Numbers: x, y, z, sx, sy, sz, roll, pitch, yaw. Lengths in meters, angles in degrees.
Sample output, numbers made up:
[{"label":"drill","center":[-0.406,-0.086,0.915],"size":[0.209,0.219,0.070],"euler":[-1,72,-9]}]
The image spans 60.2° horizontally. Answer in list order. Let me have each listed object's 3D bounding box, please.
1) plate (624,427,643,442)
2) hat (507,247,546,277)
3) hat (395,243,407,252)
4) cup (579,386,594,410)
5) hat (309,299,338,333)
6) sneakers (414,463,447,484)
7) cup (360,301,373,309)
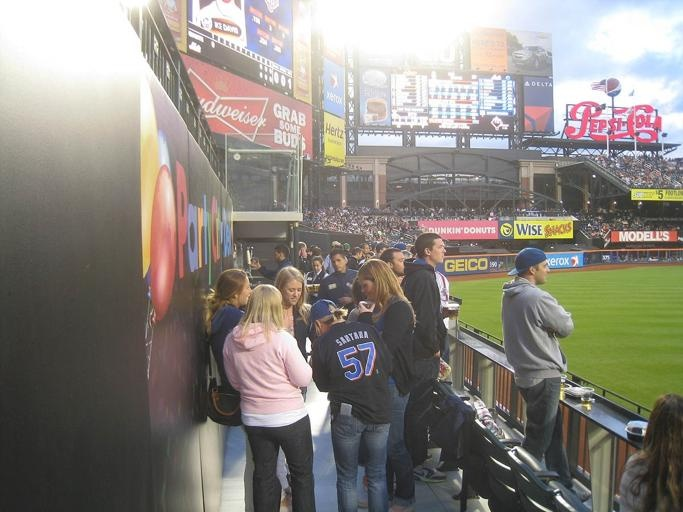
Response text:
[{"label":"plate","center":[1.756,1.056,3.521],"size":[0.066,0.049,0.082],"euler":[-1,-3,-2]},{"label":"hat","center":[1.379,0.031,4.435],"size":[0.265,0.172,0.185],"euler":[-25,7,22]},{"label":"hat","center":[0.626,-0.088,6.206],"size":[0.086,0.051,0.141],"euler":[1,-1,-2]},{"label":"cup","center":[1.794,1.032,4.277],"size":[0.073,0.136,0.132],"euler":[0,-2,2]},{"label":"hat","center":[-0.117,0.371,3.751],"size":[0.146,0.136,0.228],"euler":[-10,13,-8]},{"label":"sneakers","center":[0.700,1.716,4.709],"size":[0.268,0.125,0.105],"euler":[5,-1,4]},{"label":"cup","center":[0.172,0.343,4.226],"size":[0.042,0.052,0.075],"euler":[9,-17,-18]}]
